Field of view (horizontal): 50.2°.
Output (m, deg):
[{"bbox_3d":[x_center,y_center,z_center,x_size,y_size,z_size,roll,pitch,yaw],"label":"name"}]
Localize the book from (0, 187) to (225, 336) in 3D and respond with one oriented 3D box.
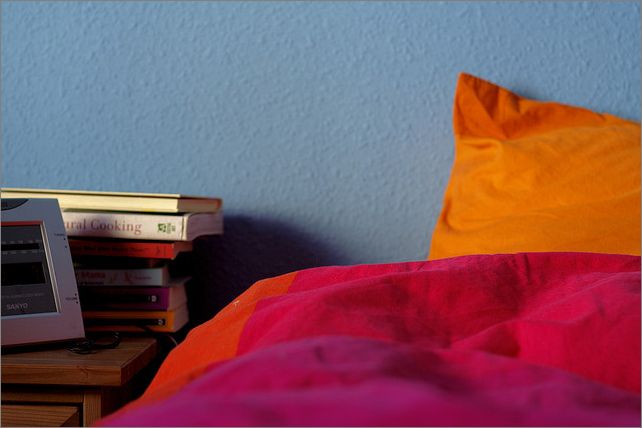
[{"bbox_3d":[-0.488,0.093,1.651,0.474,0.342,0.236,8,21,-9],"label":"book"}]
